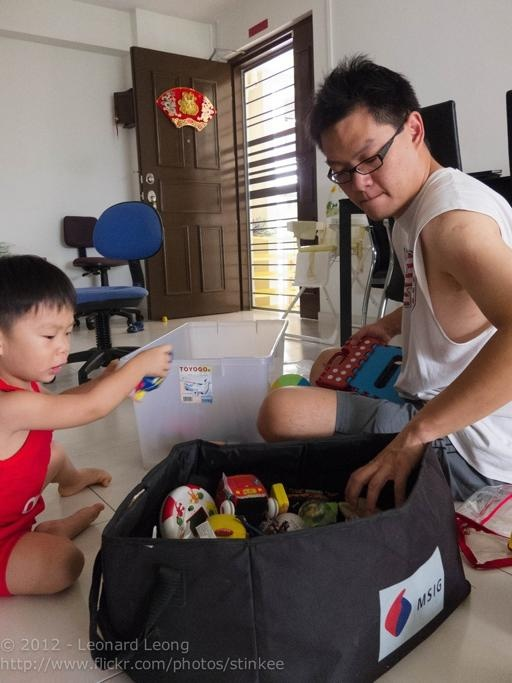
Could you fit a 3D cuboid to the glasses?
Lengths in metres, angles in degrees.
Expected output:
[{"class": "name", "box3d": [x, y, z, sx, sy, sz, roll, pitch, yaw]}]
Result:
[{"class": "glasses", "box3d": [0.224, -0.345, 0.987, 0.126, 0.034, 0.122, -47, 14, -15]}]

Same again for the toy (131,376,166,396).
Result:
[{"class": "toy", "box3d": [-0.229, 0.095, 1.113, 0.026, 0.047, 0.067, 48, 34, 9]}]

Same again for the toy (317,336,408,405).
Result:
[{"class": "toy", "box3d": [0.287, 0.080, 1.376, 0.200, 0.057, 0.149, 11, 51, 22]}]

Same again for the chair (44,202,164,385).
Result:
[{"class": "chair", "box3d": [-0.775, -0.264, 2.717, 0.555, 0.868, 0.575, 8, 17, 34]}]
